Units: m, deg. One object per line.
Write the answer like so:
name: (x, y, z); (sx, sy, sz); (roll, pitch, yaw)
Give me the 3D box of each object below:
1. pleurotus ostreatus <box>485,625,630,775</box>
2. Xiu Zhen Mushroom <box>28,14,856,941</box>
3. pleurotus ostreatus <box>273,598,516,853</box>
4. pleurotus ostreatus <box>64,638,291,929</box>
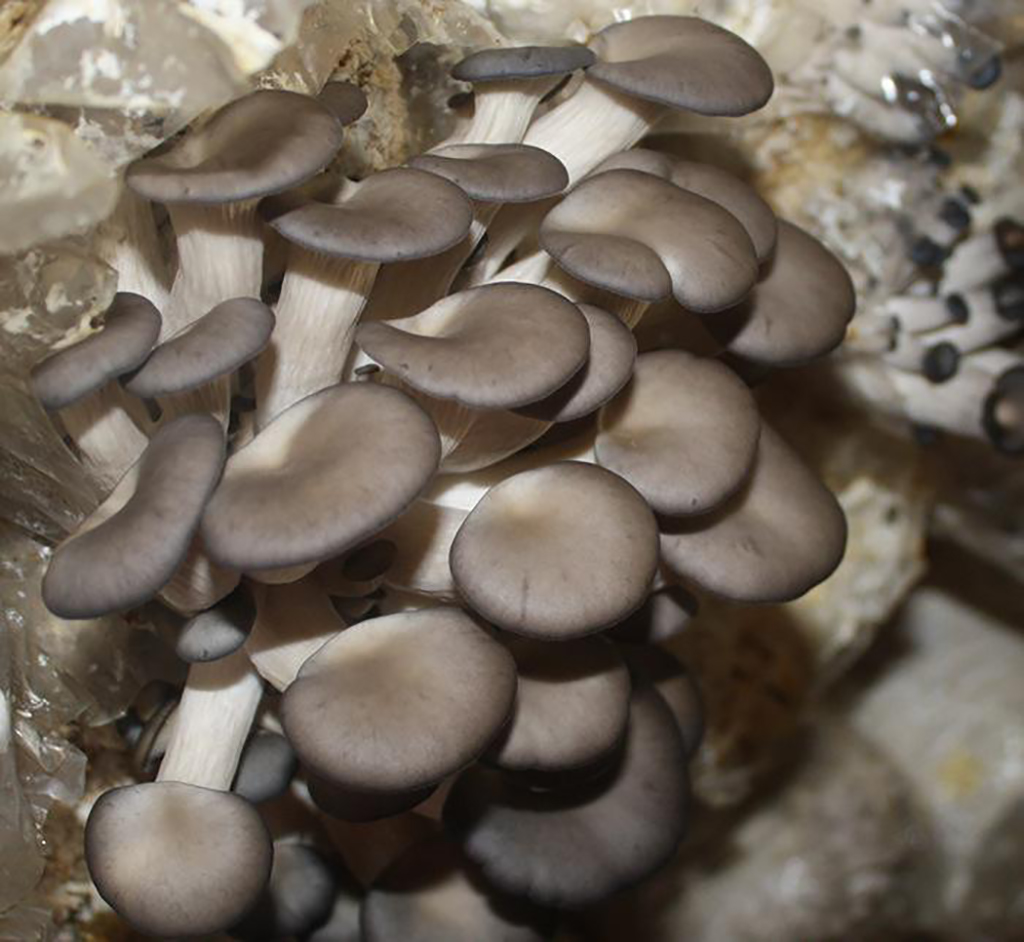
pleurotus ostreatus: (0.041, 0.352, 1.882); (0.185, 0.223, 0.194); (19, 30, 40)
Xiu Zhen Mushroom: (-0.260, 0.071, 2.193); (1.368, 0.667, 1.391); (17, 79, -15)
pleurotus ostreatus: (-0.159, 0.313, 1.682); (0.319, 0.085, 0.271); (-31, 60, -25)
pleurotus ostreatus: (-0.504, 0.492, 1.898); (0.254, 0.187, 0.409); (20, 62, -13)
